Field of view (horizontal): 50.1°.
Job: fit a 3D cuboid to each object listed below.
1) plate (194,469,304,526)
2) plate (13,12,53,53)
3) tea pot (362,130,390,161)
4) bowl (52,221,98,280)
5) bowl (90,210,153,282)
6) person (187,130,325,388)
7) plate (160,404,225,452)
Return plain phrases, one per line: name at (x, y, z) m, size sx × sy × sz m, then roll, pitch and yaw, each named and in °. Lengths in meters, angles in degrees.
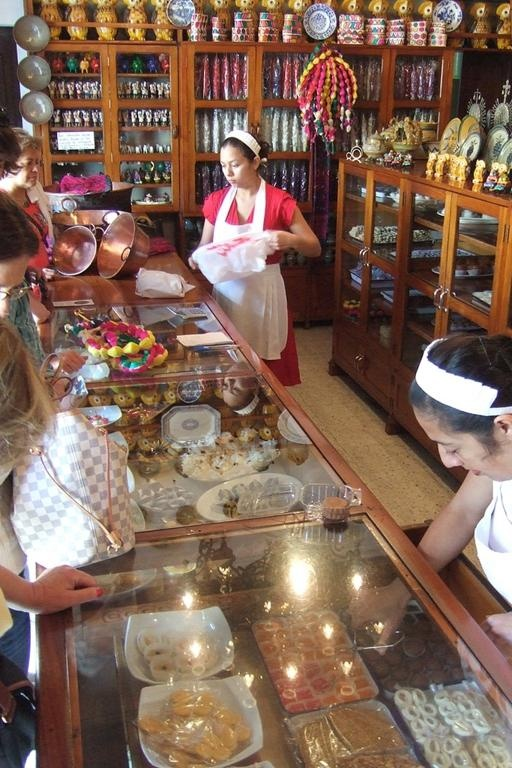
plate at (-0.017, 0.245, 1.218) m, size 0.234 × 0.029 × 0.171 m, roll -3°, pitch 22°, yaw -8°
plate at (-1.745, -2.726, 4.256) m, size 0.263 × 0.252 × 0.125 m, roll -7°, pitch 23°, yaw -17°
tea pot at (0.826, -1.653, 3.801) m, size 0.137 × 0.186 × 0.253 m, roll -12°, pitch 25°, yaw -26°
bowl at (-1.019, -0.757, 3.187) m, size 0.287 × 0.291 × 0.115 m, roll -14°, pitch -2°, yaw 15°
bowl at (-0.740, -0.749, 2.990) m, size 0.344 × 0.339 × 0.154 m, roll -21°, pitch -15°, yaw 38°
person at (-0.017, -0.648, 3.004) m, size 0.699 × 1.353 × 0.400 m, roll 14°, pitch 26°, yaw 30°
plate at (-0.180, 0.117, 1.519) m, size 0.165 × 0.035 × 0.211 m, roll -2°, pitch 22°, yaw -7°
